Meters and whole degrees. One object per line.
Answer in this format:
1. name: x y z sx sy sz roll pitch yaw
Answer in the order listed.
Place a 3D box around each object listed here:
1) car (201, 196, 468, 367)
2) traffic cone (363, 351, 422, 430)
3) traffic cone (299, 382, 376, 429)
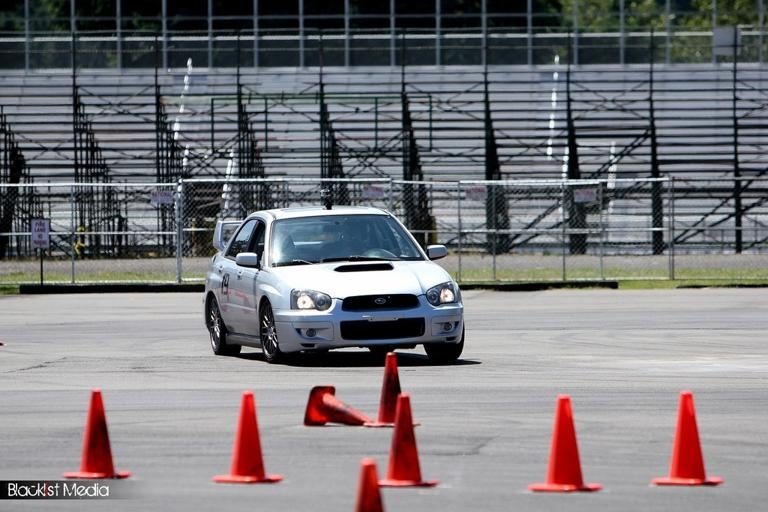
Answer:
1. car: -0.958 0.456 29.890 4.841 2.996 2.256 -2 4 10
2. traffic cone: 0.111 2.161 26.245 1.135 1.167 1.050 -2 -3 44
3. traffic cone: -0.821 2.352 25.581 1.015 0.668 0.408 -2 3 -1
